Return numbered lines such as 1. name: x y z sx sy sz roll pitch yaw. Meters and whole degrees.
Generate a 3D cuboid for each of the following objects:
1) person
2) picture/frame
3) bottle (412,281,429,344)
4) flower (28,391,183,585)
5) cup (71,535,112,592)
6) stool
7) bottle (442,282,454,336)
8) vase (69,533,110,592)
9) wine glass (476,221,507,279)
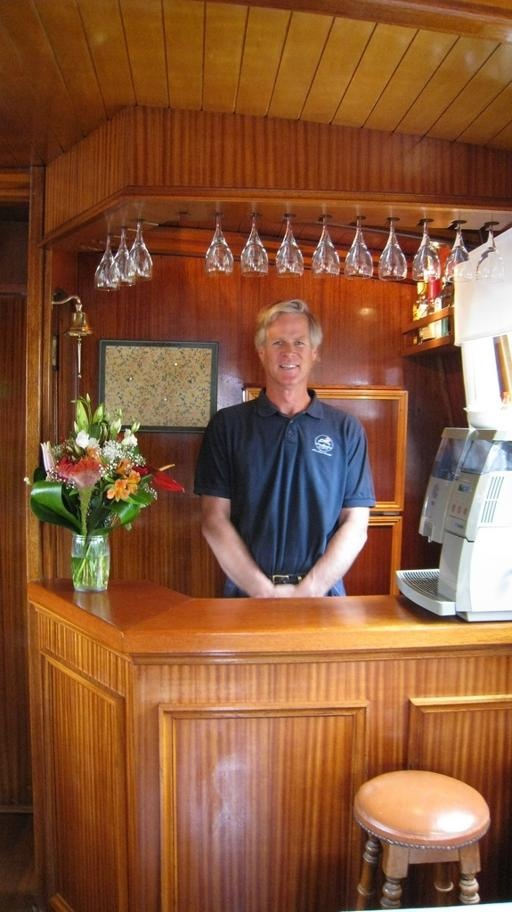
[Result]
1. person: 0.093 -0.037 2.435 0.561 1.047 0.458 0 0 34
2. picture/frame: -0.454 -0.312 3.072 0.384 0.373 0.028 2 -3 -7
3. bottle: 0.757 -0.706 3.154 0.067 0.225 0.293 0 0 12
4. flower: -0.418 0.109 1.916 0.390 0.541 0.267 0 0 -20
5. cup: -0.460 0.300 1.910 0.123 0.236 0.145 0 3 -14
6. stool: 0.321 0.718 1.394 0.241 0.349 0.265 0 -8 12
7. bottle: 0.775 -0.595 2.814 0.039 0.240 0.219 0 0 8
8. vase: -0.457 0.293 1.929 0.124 0.232 0.143 -1 3 -16
9. wine glass: 0.687 -0.593 2.035 0.071 0.174 0.143 0 0 20
